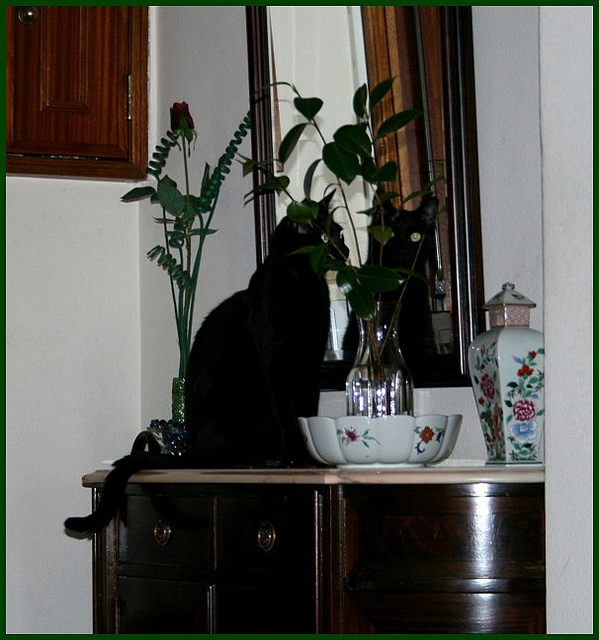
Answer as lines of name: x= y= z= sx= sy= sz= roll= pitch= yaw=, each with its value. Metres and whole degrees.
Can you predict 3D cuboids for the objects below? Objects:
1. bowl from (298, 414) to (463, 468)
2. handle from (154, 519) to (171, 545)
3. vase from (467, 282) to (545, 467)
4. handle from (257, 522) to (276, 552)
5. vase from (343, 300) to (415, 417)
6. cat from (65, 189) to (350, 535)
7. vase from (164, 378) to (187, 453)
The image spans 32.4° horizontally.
bowl: x=0.140 y=0.202 z=1.728 sx=0.266 sy=0.088 sz=0.129 roll=-4 pitch=-1 yaw=7
handle: x=-0.247 y=0.377 z=1.830 sx=0.040 sy=0.042 sz=0.008 roll=-4 pitch=-1 yaw=44
vase: x=0.352 y=0.089 z=1.750 sx=0.125 sy=0.318 sz=0.253 roll=-3 pitch=-1 yaw=9
handle: x=-0.055 y=0.360 z=1.703 sx=0.033 sy=0.047 sz=0.010 roll=-4 pitch=-1 yaw=38
vase: x=0.140 y=0.068 z=1.840 sx=0.125 sy=0.204 sz=0.211 roll=-3 pitch=-1 yaw=3
cat: x=-0.248 y=0.112 z=2.283 sx=0.713 sy=0.997 sz=0.412 roll=-5 pitch=-10 yaw=1
vase: x=-0.269 y=0.209 z=2.184 sx=0.038 sy=0.166 sz=0.047 roll=11 pitch=-24 yaw=-37
